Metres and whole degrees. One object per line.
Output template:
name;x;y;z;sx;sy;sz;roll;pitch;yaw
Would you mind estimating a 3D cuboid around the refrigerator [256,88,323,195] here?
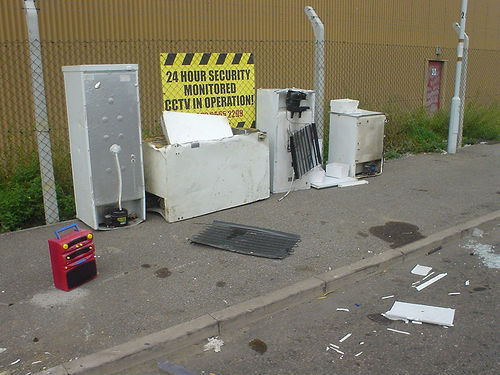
refrigerator;0.742;-0.940;9.120;1.120;2.007;1.106;-9;19;-32
